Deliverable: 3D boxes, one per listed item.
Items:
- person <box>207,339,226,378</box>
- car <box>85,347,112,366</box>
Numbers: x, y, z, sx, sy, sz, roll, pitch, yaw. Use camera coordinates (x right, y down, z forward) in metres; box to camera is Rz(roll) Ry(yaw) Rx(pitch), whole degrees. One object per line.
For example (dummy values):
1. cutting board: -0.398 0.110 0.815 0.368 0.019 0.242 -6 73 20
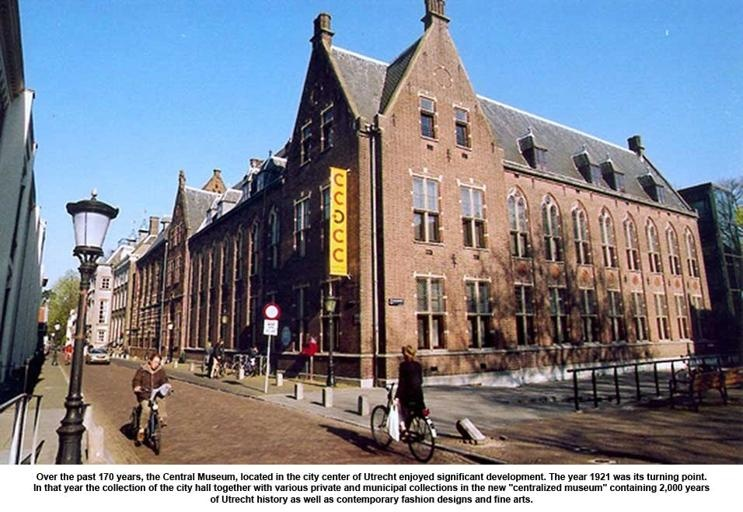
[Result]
1. person: -8.440 5.561 29.812 0.907 2.149 0.797 1 8 -9
2. car: -23.030 8.650 45.356 1.356 1.092 2.809 4 -1 -38
